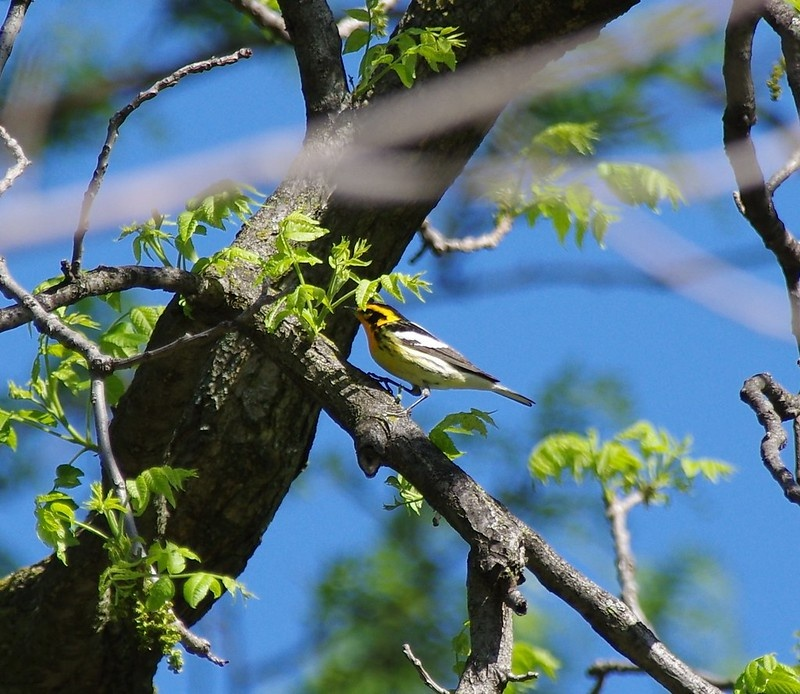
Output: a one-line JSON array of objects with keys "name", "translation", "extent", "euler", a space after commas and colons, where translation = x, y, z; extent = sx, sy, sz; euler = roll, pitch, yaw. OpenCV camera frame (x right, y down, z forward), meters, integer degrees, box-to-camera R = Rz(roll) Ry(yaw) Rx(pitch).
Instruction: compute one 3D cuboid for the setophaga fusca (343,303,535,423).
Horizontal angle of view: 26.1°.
[{"name": "setophaga fusca", "translation": [0.249, 0.070, 10.127], "extent": [1.056, 0.579, 0.337], "euler": [8, -12, 2]}]
